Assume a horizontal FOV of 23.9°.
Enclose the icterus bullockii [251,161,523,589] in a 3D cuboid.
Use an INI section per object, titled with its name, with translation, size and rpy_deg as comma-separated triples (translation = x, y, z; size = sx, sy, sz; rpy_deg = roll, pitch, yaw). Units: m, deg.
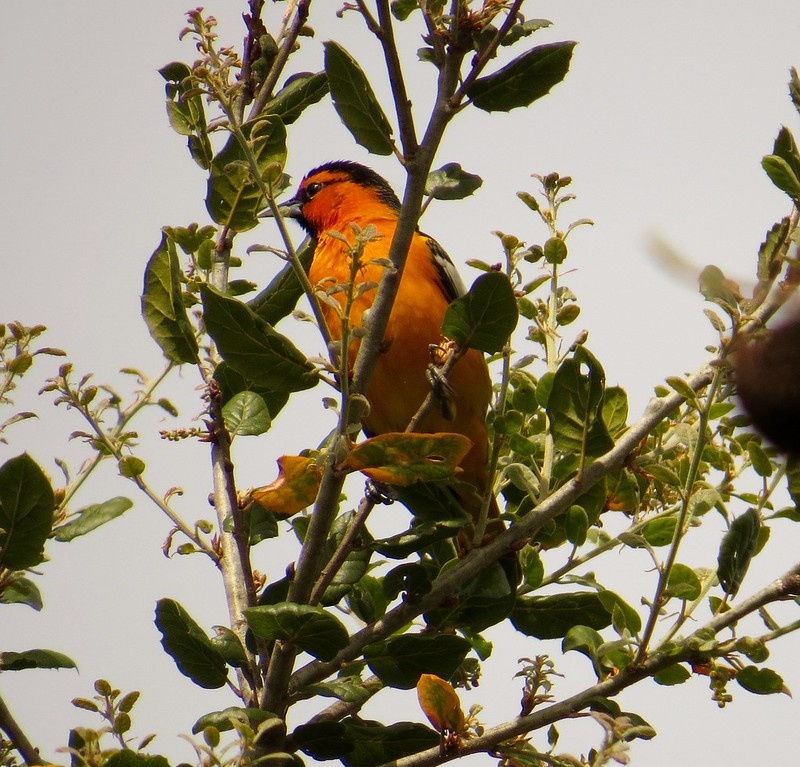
[icterus bullockii]
translation = -0.006, -0.305, 6.036
size = 0.690, 1.745, 0.558
rpy_deg = -1, -43, -6
